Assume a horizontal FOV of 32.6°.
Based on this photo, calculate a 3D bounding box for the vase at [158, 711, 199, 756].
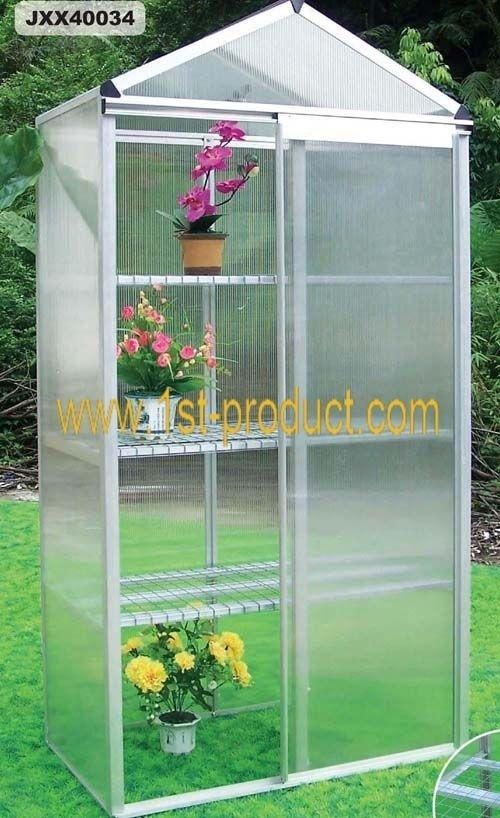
[{"bbox_3d":[-0.238,1.081,2.839,0.132,0.091,0.133,1,-6,-9],"label":"vase"}]

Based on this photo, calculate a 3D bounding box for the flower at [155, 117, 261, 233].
[{"bbox_3d":[-0.161,-0.814,2.957,0.376,0.498,0.316,4,3,-1],"label":"flower"}]

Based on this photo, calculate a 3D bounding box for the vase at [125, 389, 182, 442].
[{"bbox_3d":[-0.296,0.023,2.645,0.139,0.106,0.142,0,0,40],"label":"vase"}]

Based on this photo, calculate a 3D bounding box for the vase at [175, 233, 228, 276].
[{"bbox_3d":[-0.154,-0.493,2.765,0.145,0.108,0.146,-2,6,-19],"label":"vase"}]

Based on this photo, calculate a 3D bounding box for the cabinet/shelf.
[{"bbox_3d":[0.009,-0.039,2.938,1.452,2.516,0.970,-6,8,-27],"label":"cabinet/shelf"}]
